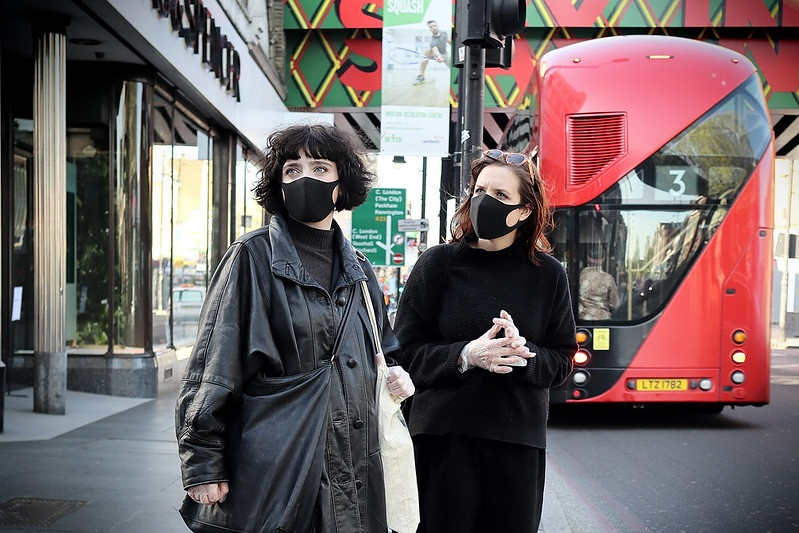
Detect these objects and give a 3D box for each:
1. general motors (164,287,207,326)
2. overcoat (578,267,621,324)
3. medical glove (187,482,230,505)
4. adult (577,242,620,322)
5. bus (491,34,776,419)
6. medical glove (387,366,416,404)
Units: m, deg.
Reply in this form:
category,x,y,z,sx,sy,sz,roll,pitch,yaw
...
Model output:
category,x,y,z,sx,sy,sz,roll,pitch,yaw
general motors,-3.866,0.960,15.977,0.734,0.766,1.515,2,-17,-12
overcoat,2.794,0.418,12.087,0.587,0.761,0.381,-6,-13,35
medical glove,-1.439,1.717,6.515,0.223,0.180,0.101,6,17,-7
adult,2.782,0.423,12.199,0.576,1.334,0.665,2,5,7
bus,4.819,-1.455,16.678,3.092,5.883,10.550,-3,8,13
medical glove,0.021,0.953,7.000,0.157,0.190,0.272,-42,3,9
